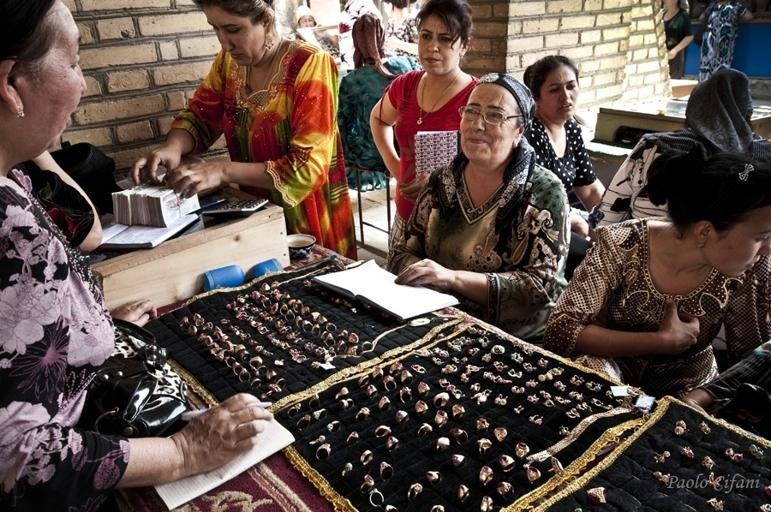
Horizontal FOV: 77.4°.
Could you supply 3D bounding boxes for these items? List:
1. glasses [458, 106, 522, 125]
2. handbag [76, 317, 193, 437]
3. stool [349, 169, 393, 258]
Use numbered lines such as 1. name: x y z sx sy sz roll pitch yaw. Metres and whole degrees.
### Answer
1. glasses: 0.515 -0.685 2.344 0.289 0.089 0.126 3 21 14
2. handbag: -0.852 0.458 1.599 0.392 0.190 0.511 14 2 -33
3. stool: -0.084 -0.458 4.869 0.631 0.856 0.909 2 7 -7
